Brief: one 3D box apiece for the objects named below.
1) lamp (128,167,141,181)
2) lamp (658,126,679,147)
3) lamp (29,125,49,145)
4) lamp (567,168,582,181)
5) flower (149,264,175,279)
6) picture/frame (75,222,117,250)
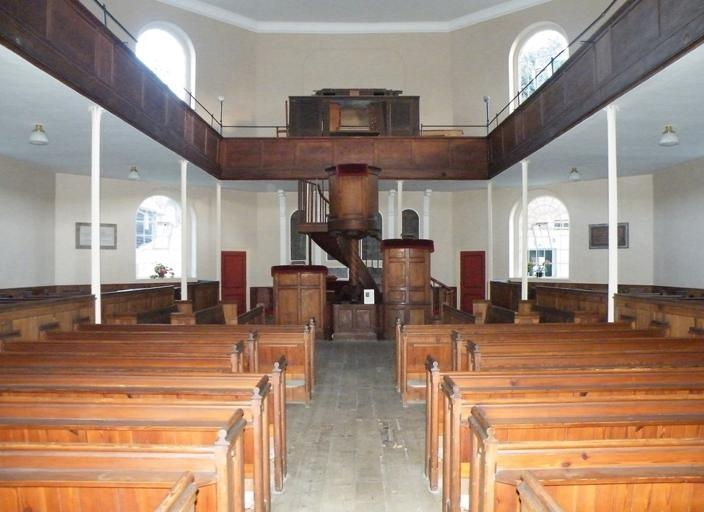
[{"bbox_3d":[-5.374,-2.057,14.082,0.321,0.333,0.322,-1,-6,6],"label":"lamp"},{"bbox_3d":[5.593,-2.165,10.182,0.322,0.327,0.318,2,0,-9],"label":"lamp"},{"bbox_3d":[-5.538,-2.178,10.151,0.334,0.358,0.336,-1,-6,-15],"label":"lamp"},{"bbox_3d":[5.478,-2.059,14.357,0.328,0.348,0.324,-3,4,-40],"label":"lamp"},{"bbox_3d":[-5.601,0.446,17.073,0.434,0.320,0.469,-5,-3,9],"label":"flower"},{"bbox_3d":[-6.361,-0.517,14.159,0.963,0.653,0.039,-4,3,-43],"label":"picture/frame"}]
